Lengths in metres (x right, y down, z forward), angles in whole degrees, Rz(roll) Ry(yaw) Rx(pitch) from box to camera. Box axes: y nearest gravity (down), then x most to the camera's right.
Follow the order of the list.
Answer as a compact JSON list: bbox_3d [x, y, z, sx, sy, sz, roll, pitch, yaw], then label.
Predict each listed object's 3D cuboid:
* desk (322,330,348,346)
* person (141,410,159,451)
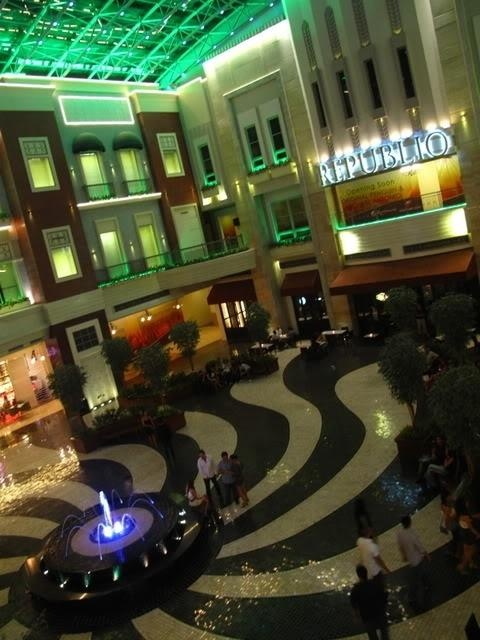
[{"bbox_3d":[4.491,0.803,21.285,0.809,0.498,0.858,1,7,28],"label":"desk"},{"bbox_3d":[-3.118,3.660,15.513,0.438,1.046,1.520,-23,11,-16],"label":"person"}]
